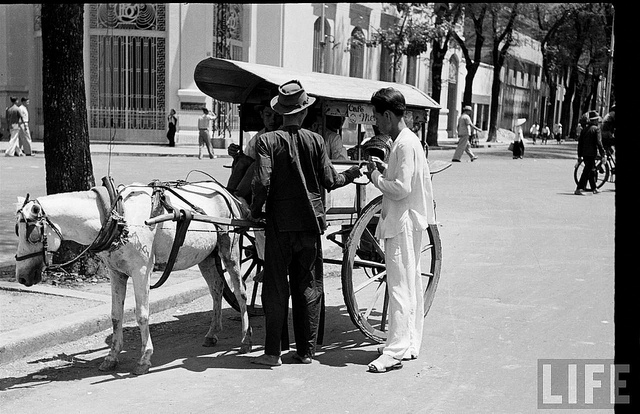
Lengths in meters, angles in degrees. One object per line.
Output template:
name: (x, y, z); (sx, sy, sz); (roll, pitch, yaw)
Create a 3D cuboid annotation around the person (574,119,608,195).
person: (6.960, -1.337, 21.418); (0.894, 2.017, 0.745); (0, 4, -38)

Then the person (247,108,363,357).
person: (-0.302, 0.317, 9.911); (1.052, 2.933, 0.442); (1, 6, -4)

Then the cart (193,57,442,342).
cart: (0.208, -0.458, 11.377); (2.069, 5.608, 2.148); (1, 1, 40)

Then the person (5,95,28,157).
person: (-10.282, -2.698, 28.163); (0.688, 1.952, 1.432); (-1, 6, -20)

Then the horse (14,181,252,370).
horse: (-2.136, 0.839, 9.927); (3.057, 2.165, 0.848); (-1, 0, -43)

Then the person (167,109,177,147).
person: (-5.926, -3.171, 33.493); (0.355, 1.492, 0.780); (0, 6, -8)

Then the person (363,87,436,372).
person: (0.977, 0.248, 10.112); (1.018, 3.266, 1.156); (0, 2, 21)
